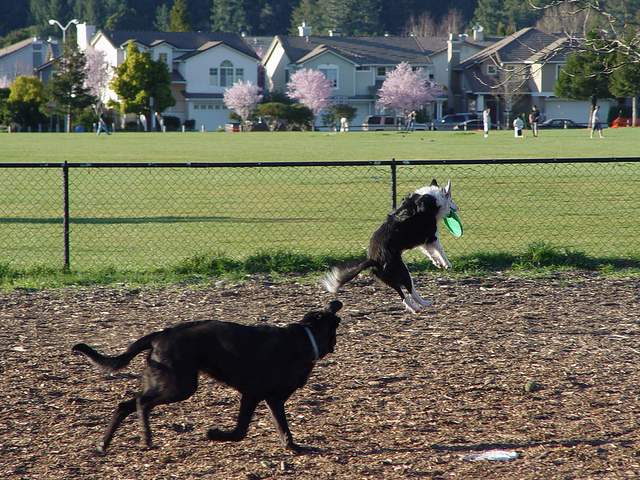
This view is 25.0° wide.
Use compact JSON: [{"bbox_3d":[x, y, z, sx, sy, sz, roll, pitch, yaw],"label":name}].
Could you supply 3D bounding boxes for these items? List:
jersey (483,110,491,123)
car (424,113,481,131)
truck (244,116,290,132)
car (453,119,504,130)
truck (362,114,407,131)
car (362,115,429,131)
[{"bbox_3d":[13.840,-10.078,119.130,0.251,1.084,1.605,3,10,19],"label":"jersey"},{"bbox_3d":[13.177,-11.306,140.282,4.836,1.510,1.975,1,5,0],"label":"car"},{"bbox_3d":[-5.173,-11.260,143.400,2.621,1.165,2.554,1,2,-1],"label":"truck"},{"bbox_3d":[15.148,-10.852,138.841,3.498,0.948,1.916,0,5,9],"label":"car"},{"bbox_3d":[6.304,-11.147,141.534,3.793,1.459,1.884,-3,10,-6],"label":"truck"},{"bbox_3d":[7.485,-11.048,142.091,6.346,1.645,2.231,-2,8,-10],"label":"car"}]
